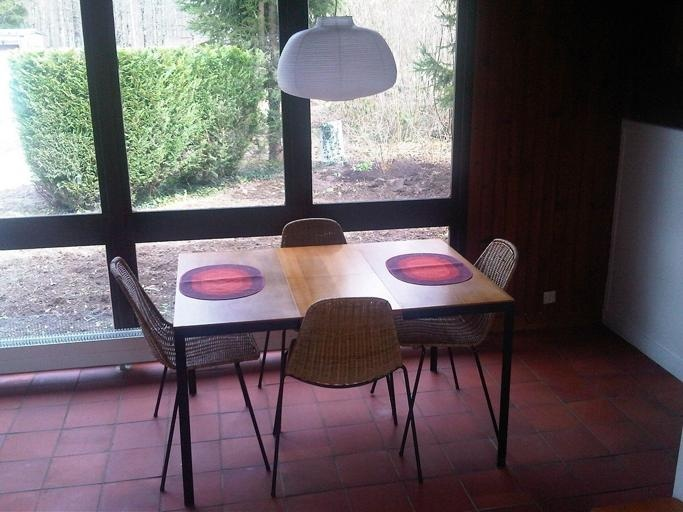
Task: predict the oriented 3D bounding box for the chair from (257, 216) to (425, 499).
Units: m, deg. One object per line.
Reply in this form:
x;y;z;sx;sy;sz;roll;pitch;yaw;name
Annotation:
-0.021;0.428;3.027;0.958;1.065;1.486;-5;24;-10;chair

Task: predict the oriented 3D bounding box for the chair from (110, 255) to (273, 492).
-0.766;0.571;2.798;0.792;0.995;0.650;1;10;-8;chair

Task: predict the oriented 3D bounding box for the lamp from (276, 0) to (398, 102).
-0.033;-0.822;2.103;0.397;0.260;0.388;1;26;3;lamp
